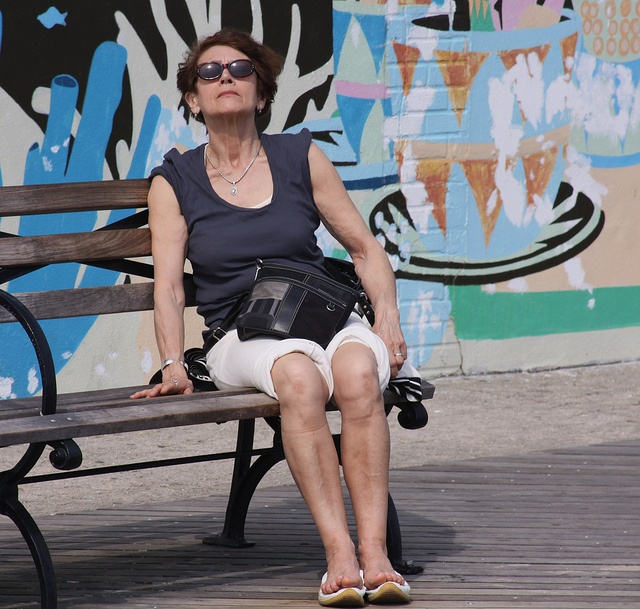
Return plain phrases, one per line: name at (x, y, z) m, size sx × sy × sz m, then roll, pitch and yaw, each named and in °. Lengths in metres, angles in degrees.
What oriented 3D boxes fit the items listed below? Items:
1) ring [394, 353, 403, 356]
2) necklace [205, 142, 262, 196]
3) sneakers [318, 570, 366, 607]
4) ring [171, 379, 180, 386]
ring at (0.276, 0.176, 4.441) m, size 0.029 × 0.009 × 0.016 m, roll -2°, pitch 9°, yaw -7°
necklace at (-0.321, -0.500, 4.674) m, size 0.233 × 0.299 × 0.017 m, roll 1°, pitch -32°, yaw -5°
sneakers at (0.075, 0.897, 3.967) m, size 0.091 × 0.106 × 0.245 m, roll 0°, pitch -11°, yaw -5°
ring at (-0.498, 0.268, 4.331) m, size 0.008 × 0.024 × 0.018 m, roll -43°, pitch -7°, yaw -4°
